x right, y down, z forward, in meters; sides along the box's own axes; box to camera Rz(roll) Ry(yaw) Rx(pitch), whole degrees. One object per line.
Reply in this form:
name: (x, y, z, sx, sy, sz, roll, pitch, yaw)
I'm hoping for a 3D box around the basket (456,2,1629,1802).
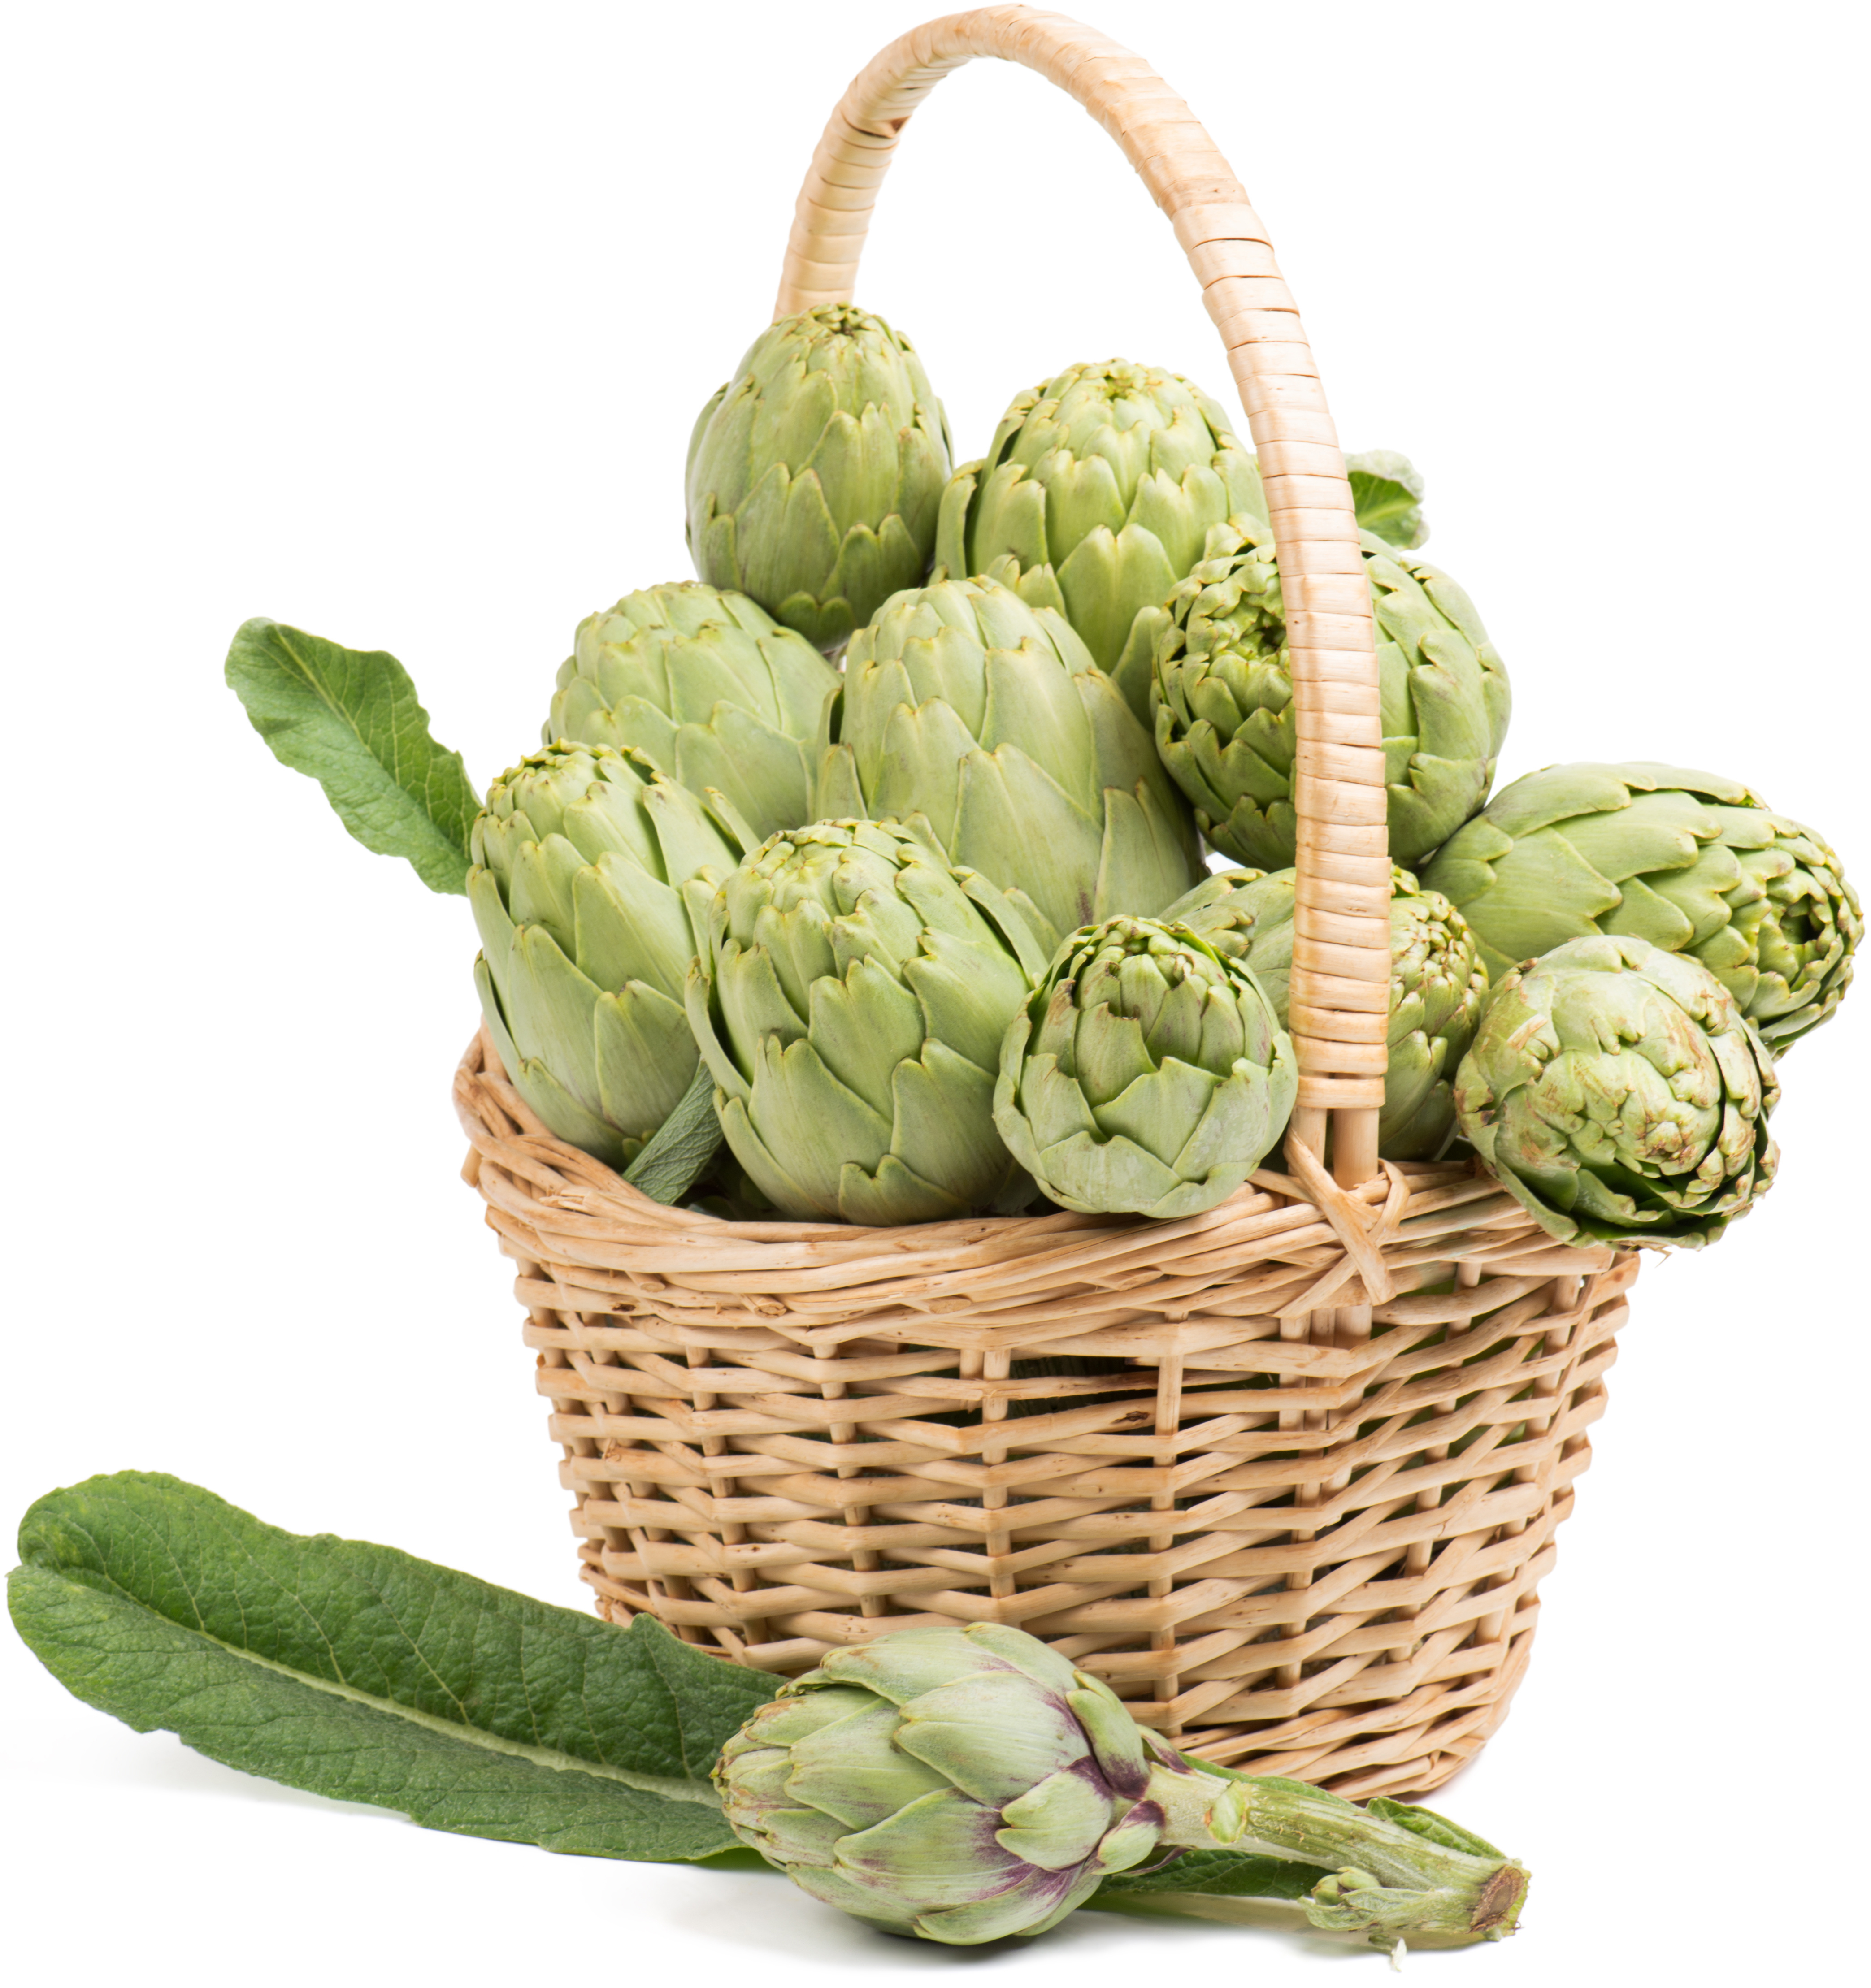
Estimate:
basket: (0.150, -0.162, 2.424, 0.954, 1.600, 0.919, 3, -25, 13)
